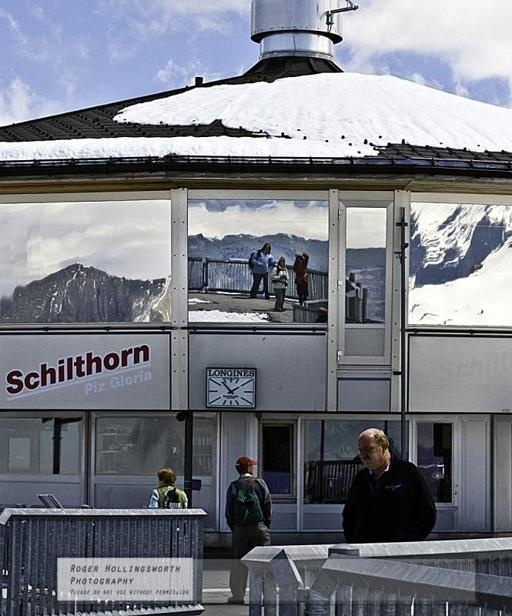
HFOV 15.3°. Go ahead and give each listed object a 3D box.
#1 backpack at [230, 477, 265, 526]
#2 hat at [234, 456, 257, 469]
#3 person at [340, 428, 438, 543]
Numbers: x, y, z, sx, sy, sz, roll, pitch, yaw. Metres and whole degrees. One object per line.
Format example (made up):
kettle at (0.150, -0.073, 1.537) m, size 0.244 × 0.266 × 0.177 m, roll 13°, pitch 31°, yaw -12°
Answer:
backpack at (-0.084, 2.347, 23.076) m, size 0.385 × 0.589 × 0.312 m, roll -3°, pitch 3°, yaw 13°
hat at (-0.109, 1.920, 23.289) m, size 0.195 × 0.134 × 0.318 m, roll 1°, pitch 1°, yaw 27°
person at (1.358, 1.868, 19.676) m, size 0.971 × 1.156 × 0.547 m, roll -2°, pitch -6°, yaw 8°
